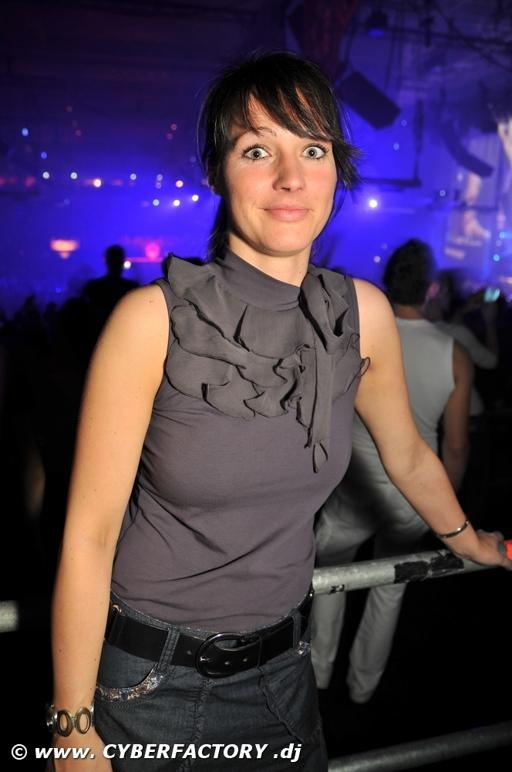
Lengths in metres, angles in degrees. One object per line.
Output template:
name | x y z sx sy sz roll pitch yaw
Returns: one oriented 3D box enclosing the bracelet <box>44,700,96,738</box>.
bracelet | -0.312 0.543 1.125 0.063 0.024 0.053 2 -5 9
